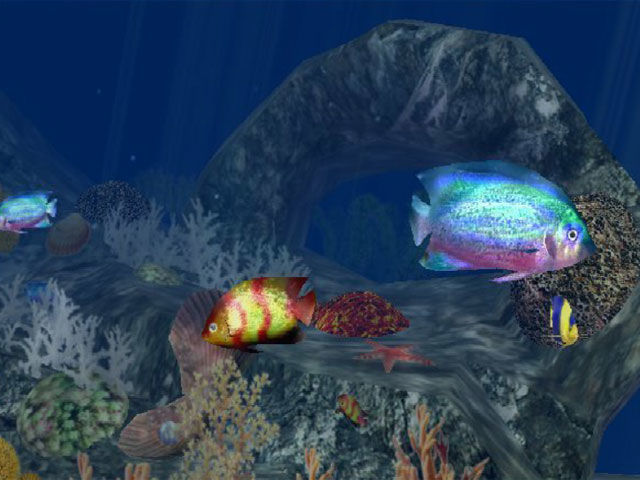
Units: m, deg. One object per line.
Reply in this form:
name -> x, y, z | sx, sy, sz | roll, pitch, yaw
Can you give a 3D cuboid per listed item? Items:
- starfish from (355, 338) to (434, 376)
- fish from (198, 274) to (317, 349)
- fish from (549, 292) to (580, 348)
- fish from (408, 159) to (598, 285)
starfish -> 1.154, 1.796, 16.417 | 1.033, 0.666, 1.061 | -1, -22, 2
fish -> -0.783, 0.943, 13.895 | 1.428, 0.788, 0.340 | -2, -20, 3
fish -> 3.385, 1.078, 14.729 | 0.323, 0.629, 0.408 | -3, -20, 9
fish -> 2.305, -0.228, 13.779 | 2.390, 0.680, 1.822 | 2, -54, 6
